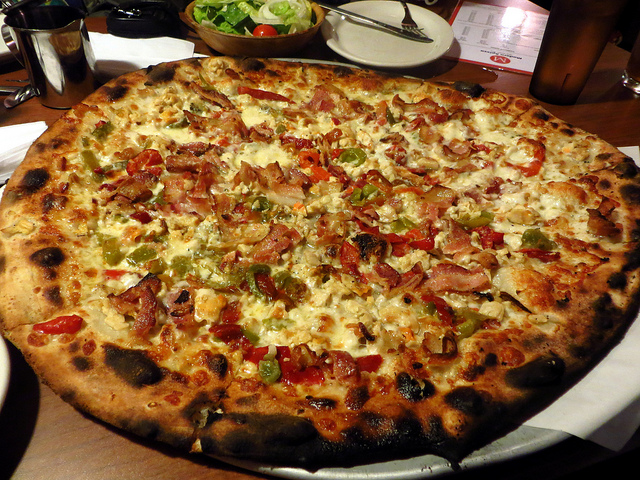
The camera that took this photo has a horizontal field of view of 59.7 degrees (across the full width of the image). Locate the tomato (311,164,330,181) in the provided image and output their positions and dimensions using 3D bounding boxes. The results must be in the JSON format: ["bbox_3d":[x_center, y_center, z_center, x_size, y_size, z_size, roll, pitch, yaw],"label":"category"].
[{"bbox_3d":[0.001,-0.410,3.425,0.126,0.045,0.070,37,66,15],"label":"tomato"}]

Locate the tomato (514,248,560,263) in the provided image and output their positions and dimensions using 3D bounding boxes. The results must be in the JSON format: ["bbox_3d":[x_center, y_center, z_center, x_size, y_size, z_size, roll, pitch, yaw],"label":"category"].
[{"bbox_3d":[1.207,0.081,3.054,0.265,0.052,0.061,5,29,11],"label":"tomato"}]

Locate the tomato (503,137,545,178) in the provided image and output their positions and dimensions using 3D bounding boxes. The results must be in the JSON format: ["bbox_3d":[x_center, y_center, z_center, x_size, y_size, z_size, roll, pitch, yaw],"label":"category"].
[{"bbox_3d":[1.325,-0.510,3.475,0.279,0.064,0.213,-3,69,19],"label":"tomato"}]

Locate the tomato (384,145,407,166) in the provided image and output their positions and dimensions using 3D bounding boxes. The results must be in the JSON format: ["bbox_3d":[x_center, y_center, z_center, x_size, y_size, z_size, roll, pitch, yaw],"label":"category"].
[{"bbox_3d":[0.493,-0.541,3.578,0.173,0.072,0.132,-19,54,-19],"label":"tomato"}]

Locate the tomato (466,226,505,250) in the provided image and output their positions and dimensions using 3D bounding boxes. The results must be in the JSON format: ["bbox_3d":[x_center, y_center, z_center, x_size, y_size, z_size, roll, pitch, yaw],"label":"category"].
[{"bbox_3d":[0.946,-0.021,3.136,0.174,0.038,0.134,-19,49,-16],"label":"tomato"}]

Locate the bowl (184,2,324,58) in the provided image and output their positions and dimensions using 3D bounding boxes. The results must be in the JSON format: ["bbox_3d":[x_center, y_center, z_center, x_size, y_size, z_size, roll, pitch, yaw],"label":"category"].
[{"bbox_3d":[-0.494,-1.688,4.372,0.821,0.164,0.875,1,37,-1],"label":"bowl"}]

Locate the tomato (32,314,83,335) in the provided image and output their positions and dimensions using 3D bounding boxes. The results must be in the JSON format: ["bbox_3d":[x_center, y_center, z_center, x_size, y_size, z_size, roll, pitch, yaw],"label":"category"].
[{"bbox_3d":[-1.250,0.419,2.678,0.213,0.040,0.108,-15,45,-19],"label":"tomato"}]

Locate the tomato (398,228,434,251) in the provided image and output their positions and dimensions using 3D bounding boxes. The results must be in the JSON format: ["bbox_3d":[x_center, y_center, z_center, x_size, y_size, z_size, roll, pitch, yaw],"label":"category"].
[{"bbox_3d":[0.551,0.003,3.138,0.171,0.036,0.146,-22,38,-20],"label":"tomato"}]
